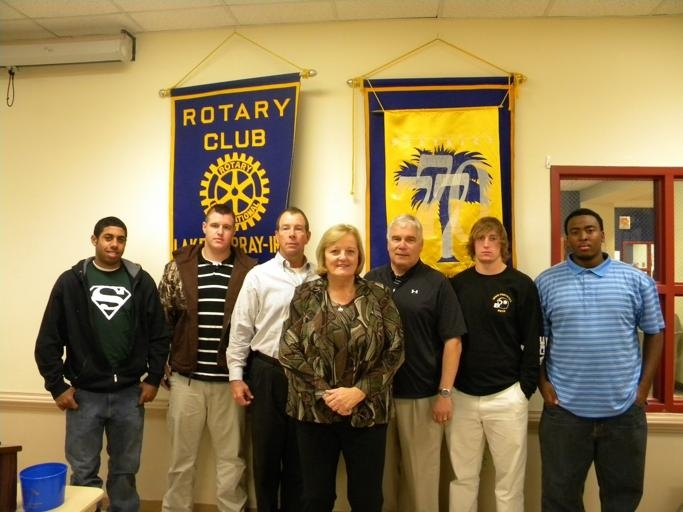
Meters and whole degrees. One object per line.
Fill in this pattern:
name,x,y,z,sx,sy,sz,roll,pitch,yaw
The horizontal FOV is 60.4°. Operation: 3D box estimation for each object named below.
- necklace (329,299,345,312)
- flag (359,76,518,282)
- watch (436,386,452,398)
necklace,-0.029,0.309,3.621,0.072,0.020,0.068,6,40,-9
flag,0.756,-0.536,4.297,1.658,1.800,0.215,0,3,3
watch,0.679,0.903,3.868,0.084,0.052,0.087,5,-22,-4
